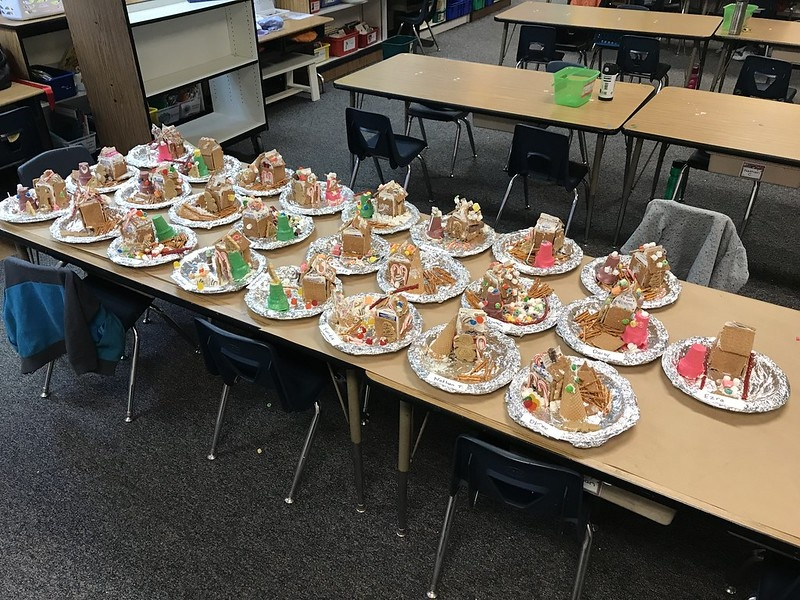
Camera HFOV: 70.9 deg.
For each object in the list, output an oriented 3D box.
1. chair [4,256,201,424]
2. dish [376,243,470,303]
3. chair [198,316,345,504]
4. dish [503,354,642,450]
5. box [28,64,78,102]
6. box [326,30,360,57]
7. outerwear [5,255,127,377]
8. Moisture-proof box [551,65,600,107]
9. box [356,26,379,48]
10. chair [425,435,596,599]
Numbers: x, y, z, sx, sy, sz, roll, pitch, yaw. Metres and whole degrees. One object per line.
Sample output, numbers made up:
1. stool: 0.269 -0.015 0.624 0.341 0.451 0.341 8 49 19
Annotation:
1. chair: -1.561 0.228 2.913 0.400 0.646 0.554 18 50 -8
2. dish: 0.116 -0.115 2.556 0.296 0.130 0.327 20 55 11
3. chair: -0.603 0.549 2.668 0.372 0.673 0.495 21 50 5
4. dish: 0.626 0.378 2.054 0.339 0.075 0.365 5 45 16
5. box: -2.688 -1.656 4.355 0.364 0.184 0.234 28 42 21
6. box: -0.676 -3.070 6.664 0.228 0.179 0.372 19 41 27
7. outerwear: -1.639 0.076 2.778 0.465 0.505 0.291 12 42 -3
8. Moisture-proof box: 1.272 -1.549 4.136 0.273 0.254 0.391 21 44 27
9. box: -0.397 -3.260 6.937 0.267 0.212 0.285 21 46 22
10. chair: 0.461 0.911 2.271 0.397 0.685 0.484 9 58 18
